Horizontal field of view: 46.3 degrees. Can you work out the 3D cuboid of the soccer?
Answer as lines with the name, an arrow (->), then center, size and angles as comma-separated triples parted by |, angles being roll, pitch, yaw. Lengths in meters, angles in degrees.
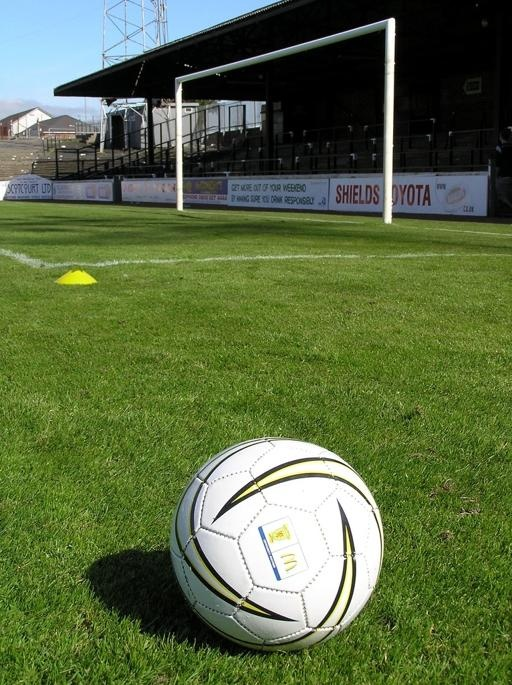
soccer -> 0.069, 0.342, 1.261 | 0.324, 0.420, 0.377 | 7, -10, 24
